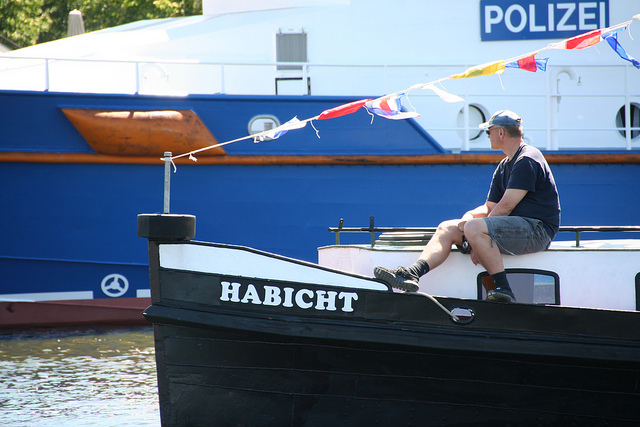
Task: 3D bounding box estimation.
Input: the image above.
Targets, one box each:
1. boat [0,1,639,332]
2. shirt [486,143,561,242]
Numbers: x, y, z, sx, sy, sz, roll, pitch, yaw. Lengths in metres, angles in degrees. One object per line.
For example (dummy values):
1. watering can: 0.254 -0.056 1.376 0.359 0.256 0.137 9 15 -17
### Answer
1. boat: 0.167 -0.963 26.589 9.764 3.278 5.464 -1 1 -15
2. shirt: 2.997 -0.297 23.054 0.873 1.344 1.231 3 -8 -12
